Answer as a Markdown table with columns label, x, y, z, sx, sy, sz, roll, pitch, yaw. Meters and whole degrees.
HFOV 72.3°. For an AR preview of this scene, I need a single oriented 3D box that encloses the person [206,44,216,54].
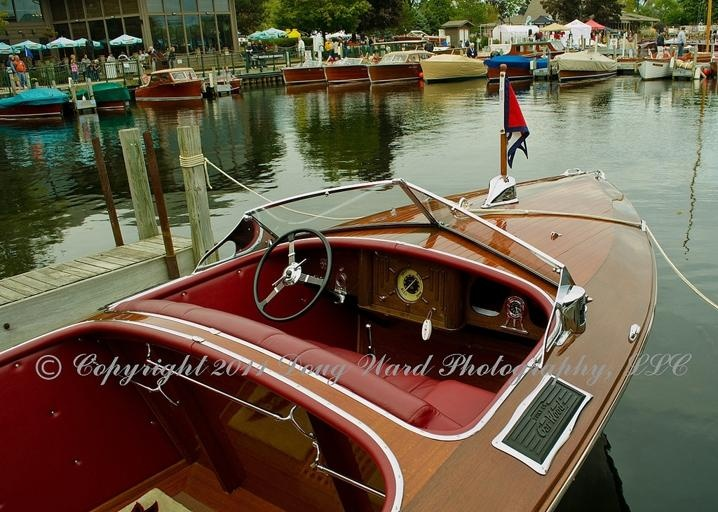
| label | x | y | z | sx | sy | sz | roll | pitch | yaw |
| --- | --- | --- | --- | --- | --- | --- | --- | --- | --- |
| person | -11.014 | -15.249 | 36.254 | 0.476 | 0.544 | 0.805 | 12 | 25 | 23 |
